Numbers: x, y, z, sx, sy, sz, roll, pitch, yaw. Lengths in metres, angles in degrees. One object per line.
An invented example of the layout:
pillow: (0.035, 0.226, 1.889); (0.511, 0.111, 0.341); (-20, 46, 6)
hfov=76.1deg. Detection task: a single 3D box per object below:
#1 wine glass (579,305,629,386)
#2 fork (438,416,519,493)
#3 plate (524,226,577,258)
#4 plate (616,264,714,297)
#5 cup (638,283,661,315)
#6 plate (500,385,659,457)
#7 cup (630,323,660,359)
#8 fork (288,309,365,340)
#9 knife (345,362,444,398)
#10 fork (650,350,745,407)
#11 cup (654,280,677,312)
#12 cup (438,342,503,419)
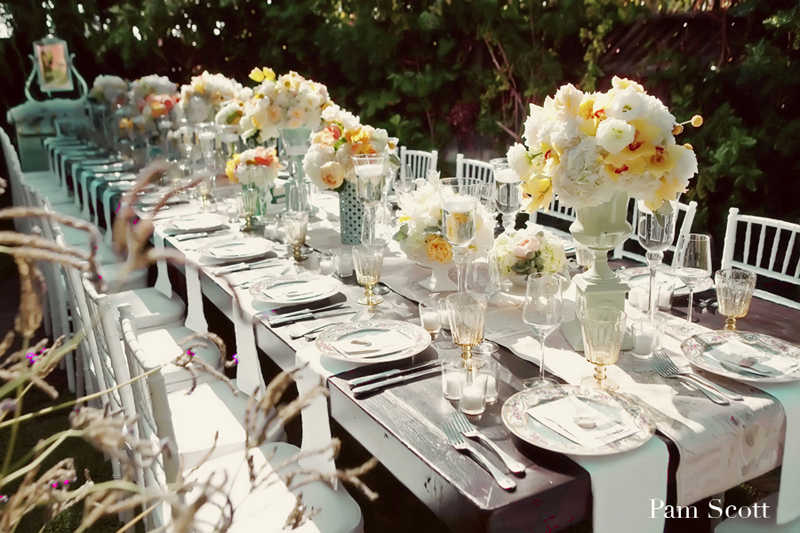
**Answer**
wine glass: (0.614, 0.221, 1.564); (0.123, 0.220, 0.272); (9, 18, 23)
fork: (0.181, 0.465, 1.316); (0.057, 0.053, 0.338); (-14, 26, -21)
plate: (0.614, -0.093, 2.094); (0.131, 0.028, 0.151); (-14, 31, -11)
plate: (1.049, 0.053, 2.084); (0.225, 0.026, 0.227); (-6, 15, -12)
cup: (0.920, 0.125, 1.886); (0.069, 0.133, 0.073); (-4, 17, 1)
plate: (0.461, 0.393, 1.339); (0.373, 0.056, 0.266); (8, 18, 20)
cup: (0.792, 0.236, 1.653); (0.101, 0.122, 0.105); (-1, 7, 0)
fork: (-0.291, 0.205, 1.877); (0.086, 0.034, 0.263); (16, 23, 41)
knife: (-0.018, 0.350, 1.555); (0.210, 0.018, 0.050); (-17, 27, -32)
fork: (0.863, 0.306, 1.518); (0.074, 0.041, 0.256); (-12, 24, -19)
cup: (1.007, 0.114, 1.947); (0.099, 0.126, 0.100); (0, 0, 0)
cup: (0.201, 0.331, 1.487); (0.138, 0.117, 0.158); (-3, 14, -2)
